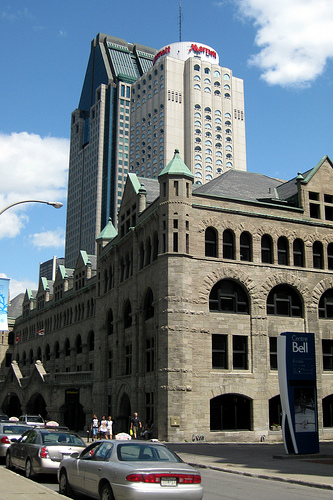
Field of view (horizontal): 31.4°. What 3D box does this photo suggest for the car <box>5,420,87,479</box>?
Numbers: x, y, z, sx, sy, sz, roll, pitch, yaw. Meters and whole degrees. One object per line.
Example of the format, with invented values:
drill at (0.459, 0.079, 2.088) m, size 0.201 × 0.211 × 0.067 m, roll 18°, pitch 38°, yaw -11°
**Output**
car at (-3.337, 5.368, 15.972) m, size 1.324 × 0.937 × 2.947 m, roll 9°, pitch -21°, yaw -23°
